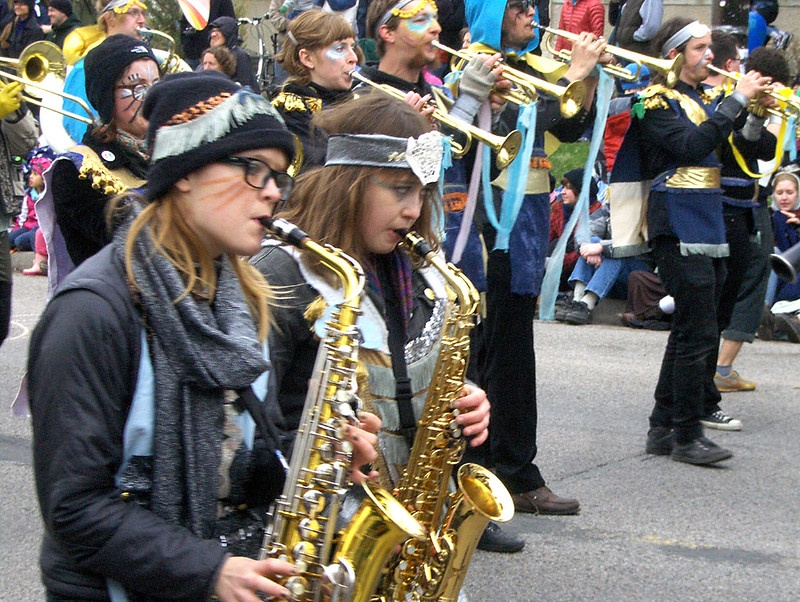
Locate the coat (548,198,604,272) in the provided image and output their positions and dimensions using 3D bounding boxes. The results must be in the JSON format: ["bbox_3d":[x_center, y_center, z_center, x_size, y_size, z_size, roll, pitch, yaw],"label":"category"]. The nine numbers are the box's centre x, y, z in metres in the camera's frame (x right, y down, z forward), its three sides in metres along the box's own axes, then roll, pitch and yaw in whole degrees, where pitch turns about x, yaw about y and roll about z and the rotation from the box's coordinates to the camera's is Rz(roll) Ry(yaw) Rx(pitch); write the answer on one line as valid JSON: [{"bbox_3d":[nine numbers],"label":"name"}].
[{"bbox_3d":[1.991,-0.806,9.831,0.800,0.922,0.439,4,4,-13],"label":"coat"}]

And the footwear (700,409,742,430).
[{"bbox_3d":[2.328,0.862,6.141,0.125,0.104,0.286,-4,2,-44],"label":"footwear"}]

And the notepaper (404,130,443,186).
[{"bbox_3d":[0.090,-0.476,2.819,0.176,0.157,0.047,-4,1,-42],"label":"notepaper"}]

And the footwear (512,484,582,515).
[{"bbox_3d":[0.781,1.081,4.588,0.432,0.155,0.150,-1,3,-5],"label":"footwear"}]

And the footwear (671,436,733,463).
[{"bbox_3d":[1.914,0.934,5.365,0.392,0.150,0.150,0,7,19],"label":"footwear"}]

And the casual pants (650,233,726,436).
[{"bbox_3d":[1.792,0.240,5.347,0.415,1.272,0.329,4,13,16],"label":"casual pants"}]

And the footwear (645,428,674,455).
[{"bbox_3d":[1.707,0.923,5.522,0.234,0.134,0.108,-5,8,-12],"label":"footwear"}]
